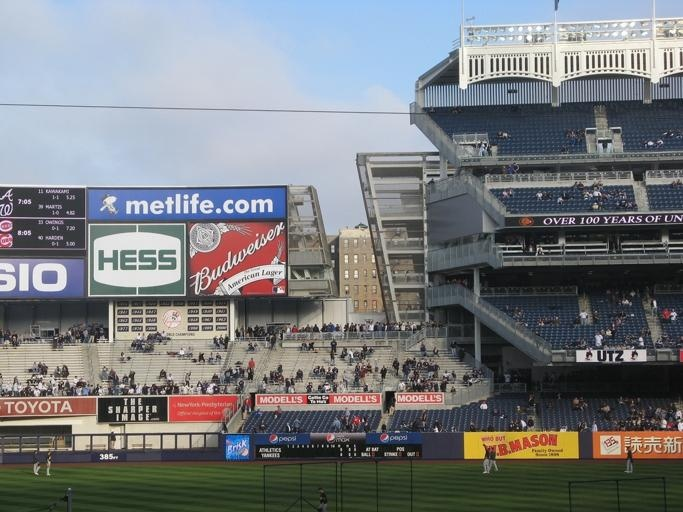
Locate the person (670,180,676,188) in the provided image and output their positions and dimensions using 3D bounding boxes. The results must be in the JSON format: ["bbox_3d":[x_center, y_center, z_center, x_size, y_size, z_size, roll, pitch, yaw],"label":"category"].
[{"bbox_3d":[27.592,-5.859,156.247,0.466,0.841,0.468,0,1,31],"label":"person"}]

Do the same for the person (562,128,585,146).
[{"bbox_3d":[19.793,-10.066,160.565,1.550,1.440,0.530,-18,-49,-4],"label":"person"}]

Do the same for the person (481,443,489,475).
[{"bbox_3d":[10.630,15.125,139.039,0.493,1.142,2.106,-1,-47,13],"label":"person"}]

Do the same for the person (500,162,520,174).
[{"bbox_3d":[14.329,-7.242,158.875,0.887,0.352,1.160,2,-57,14],"label":"person"}]
